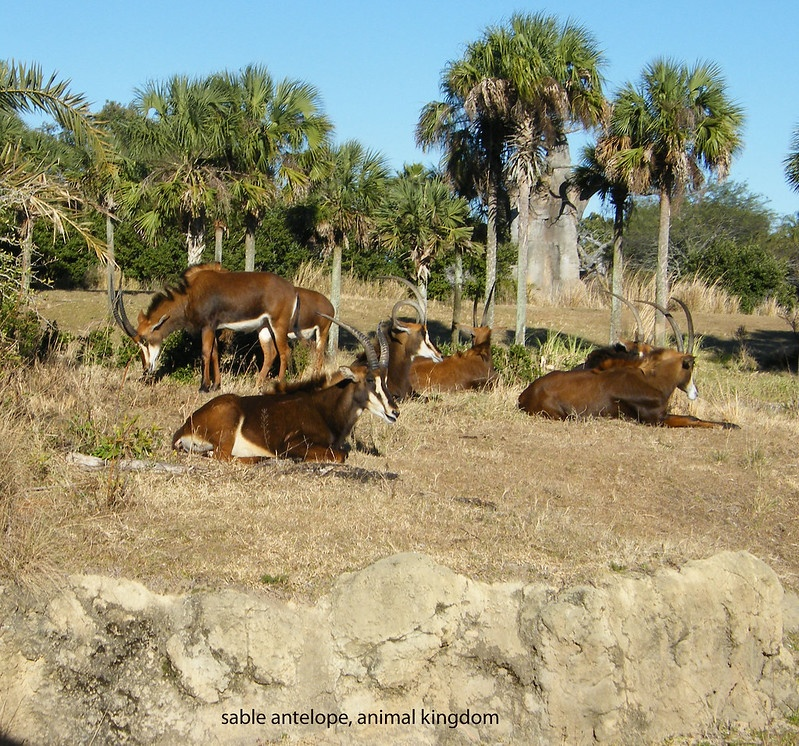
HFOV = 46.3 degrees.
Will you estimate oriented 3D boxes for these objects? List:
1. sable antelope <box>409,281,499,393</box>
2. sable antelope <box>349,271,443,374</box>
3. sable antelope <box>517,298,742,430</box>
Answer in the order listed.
[{"bbox_3d":[0.917,-0.307,15.744,1.419,1.322,0.846,-14,14,-20],"label":"sable antelope"},{"bbox_3d":[0.229,-0.655,15.763,1.112,0.855,1.796,2,49,19],"label":"sable antelope"},{"bbox_3d":[3.214,-0.249,14.105,2.390,2.167,1.474,-1,6,-3],"label":"sable antelope"}]
